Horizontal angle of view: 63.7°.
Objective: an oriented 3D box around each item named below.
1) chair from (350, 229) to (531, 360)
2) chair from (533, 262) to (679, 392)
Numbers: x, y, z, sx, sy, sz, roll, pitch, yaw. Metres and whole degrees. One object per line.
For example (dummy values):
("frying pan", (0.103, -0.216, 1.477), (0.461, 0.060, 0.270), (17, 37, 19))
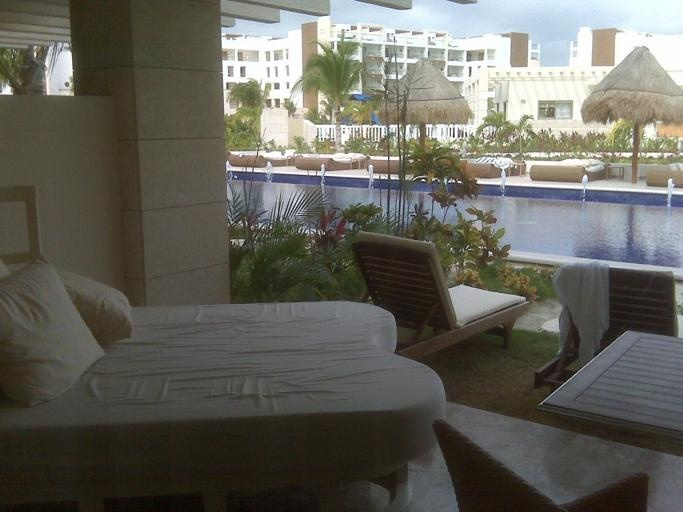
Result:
("chair", (0.683, 0.169, 4.539), (1.501, 1.100, 0.810), (-13, 18, -39))
("chair", (1.897, 0.386, 3.886), (0.602, 0.792, 1.070), (3, 12, 29))
